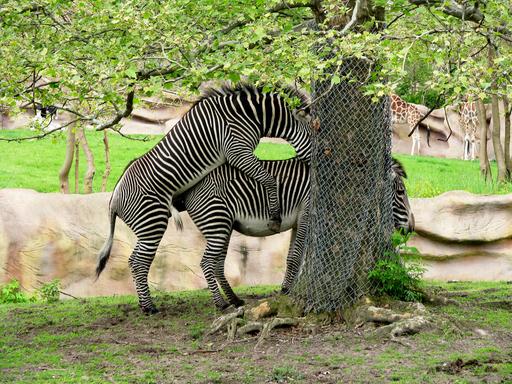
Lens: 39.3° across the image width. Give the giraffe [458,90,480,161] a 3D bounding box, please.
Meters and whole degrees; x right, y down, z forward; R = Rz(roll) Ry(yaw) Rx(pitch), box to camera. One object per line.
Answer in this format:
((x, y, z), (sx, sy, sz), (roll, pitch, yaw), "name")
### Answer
((6.787, -1.927, 22.877), (0.621, 1.983, 1.966), (0, 13, 15), "giraffe")
